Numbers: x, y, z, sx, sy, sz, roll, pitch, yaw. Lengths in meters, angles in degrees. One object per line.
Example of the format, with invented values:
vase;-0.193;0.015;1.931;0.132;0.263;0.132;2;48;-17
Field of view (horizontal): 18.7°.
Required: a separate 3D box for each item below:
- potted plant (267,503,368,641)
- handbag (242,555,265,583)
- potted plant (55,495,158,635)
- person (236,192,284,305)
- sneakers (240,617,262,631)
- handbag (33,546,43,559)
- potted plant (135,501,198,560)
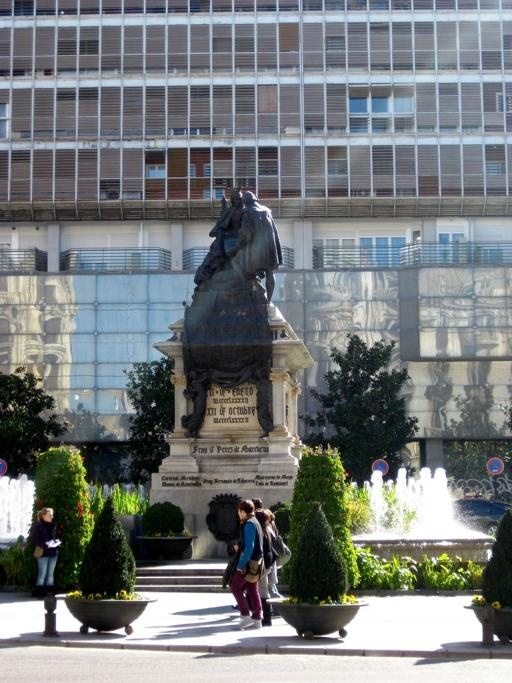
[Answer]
potted plant;0.875;3.247;21.982;1.053;1.882;0.639;-1;-5;4
handbag;-0.044;3.212;22.011;0.271;0.354;0.189;30;-13;-39
potted plant;-2.118;3.210;22.255;1.082;1.905;0.632;0;-5;-5
person;0.082;-1.941;32.466;0.840;2.434;0.848;-1;-5;9
sneakers;-0.079;4.060;22.423;0.398;0.188;0.129;4;-11;0
handbag;-3.463;3.384;24.938;0.121;0.182;0.047;9;0;21
potted plant;-1.658;3.583;29.770;1.079;1.182;1.024;0;-16;-4
